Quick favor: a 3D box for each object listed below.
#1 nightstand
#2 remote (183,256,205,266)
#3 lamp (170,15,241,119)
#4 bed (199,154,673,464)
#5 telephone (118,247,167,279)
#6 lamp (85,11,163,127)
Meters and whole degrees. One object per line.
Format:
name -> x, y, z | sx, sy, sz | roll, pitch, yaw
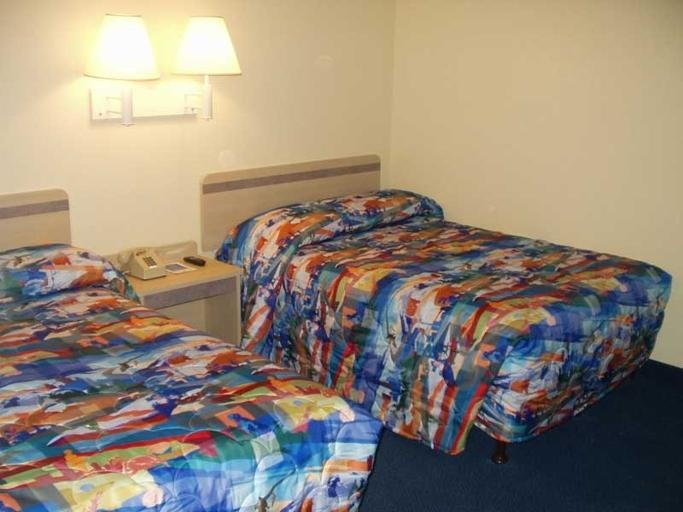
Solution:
nightstand -> -0.966, 0.225, 3.372 | 0.609, 0.529, 0.432 | -18, 31, -39
remote -> -0.961, 0.026, 3.820 | 0.144, 0.029, 0.065 | 12, 21, 30
lamp -> -0.875, -1.233, 3.751 | 0.409, 0.658, 0.357 | -5, 18, -15
bed -> 0.578, 0.140, 3.995 | 1.976, 1.161, 2.474 | -20, 30, -41
telephone -> -1.232, 0.041, 3.581 | 0.309, 0.132, 0.181 | 20, 19, 37
lamp -> -1.285, -1.100, 3.396 | 0.394, 0.637, 0.340 | -11, 20, -29
